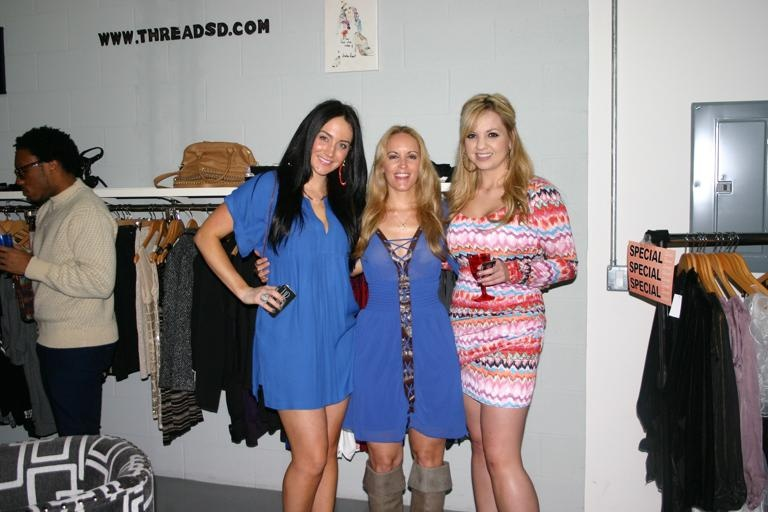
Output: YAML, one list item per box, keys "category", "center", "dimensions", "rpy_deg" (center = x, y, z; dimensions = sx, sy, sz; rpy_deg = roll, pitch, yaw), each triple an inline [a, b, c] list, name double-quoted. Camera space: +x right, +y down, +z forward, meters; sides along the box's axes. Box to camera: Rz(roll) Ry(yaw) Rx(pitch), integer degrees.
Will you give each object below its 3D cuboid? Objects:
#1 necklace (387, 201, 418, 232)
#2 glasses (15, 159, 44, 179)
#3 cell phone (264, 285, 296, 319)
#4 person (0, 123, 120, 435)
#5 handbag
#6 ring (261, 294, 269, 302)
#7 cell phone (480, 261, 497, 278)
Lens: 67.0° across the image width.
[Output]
- category: "necklace"
  center: [0.106, -0.214, 3.408]
  dimensions: [0.157, 0.167, 0.052]
  rpy_deg: [1, -25, 3]
- category: "glasses"
  center: [-2.276, -0.546, 3.708]
  dimensions: [0.134, 0.041, 0.126]
  rpy_deg: [-26, 12, -40]
- category: "cell phone"
  center: [-0.560, 0.249, 3.058]
  dimensions: [0.164, 0.124, 0.038]
  rpy_deg: [-42, 5, 1]
- category: "person"
  center: [-2.046, 0.175, 3.721]
  dimensions: [0.688, 1.969, 0.397]
  rpy_deg: [1, 6, 14]
- category: "handbag"
  center: [-1.188, -0.600, 3.920]
  dimensions: [0.485, 0.195, 0.384]
  rpy_deg: [0, 35, 2]
- category: "ring"
  center: [-0.644, 0.224, 3.096]
  dimensions: [0.047, 0.040, 0.011]
  rpy_deg: [2, 6, 18]
- category: "cell phone"
  center: [0.548, 0.074, 3.078]
  dimensions: [0.067, 0.096, 0.033]
  rpy_deg: [20, 10, -16]
